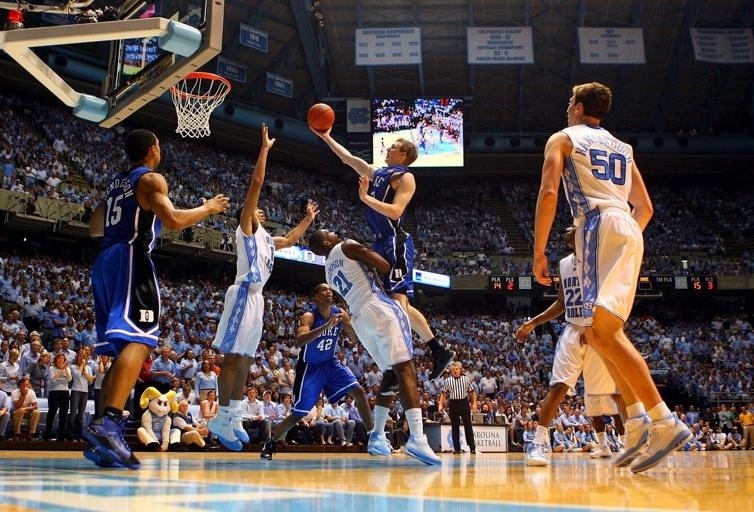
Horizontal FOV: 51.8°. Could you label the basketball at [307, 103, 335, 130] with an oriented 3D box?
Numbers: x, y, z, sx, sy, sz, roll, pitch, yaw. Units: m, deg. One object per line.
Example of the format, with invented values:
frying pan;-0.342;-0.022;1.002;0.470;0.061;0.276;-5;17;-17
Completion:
basketball;-1.060;-2.488;13.971;0.443;0.499;0.473;3;18;45
